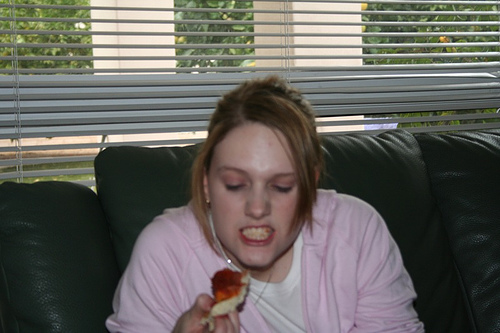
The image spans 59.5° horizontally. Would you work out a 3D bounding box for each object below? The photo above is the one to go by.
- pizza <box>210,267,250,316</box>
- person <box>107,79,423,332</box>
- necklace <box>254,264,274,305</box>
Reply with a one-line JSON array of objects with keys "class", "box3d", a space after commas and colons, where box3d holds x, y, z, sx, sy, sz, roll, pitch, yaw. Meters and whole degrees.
[{"class": "pizza", "box3d": [-0.074, 0.414, 1.504, 0.099, 0.165, 0.094, 11, 9, -39]}, {"class": "person", "box3d": [0.035, 0.192, 1.858, 1.309, 0.984, 0.705, -1, 5, -8]}, {"class": "necklace", "box3d": [0.067, 0.472, 1.751, 0.006, 0.193, 0.027, 15, -26, 41]}]
